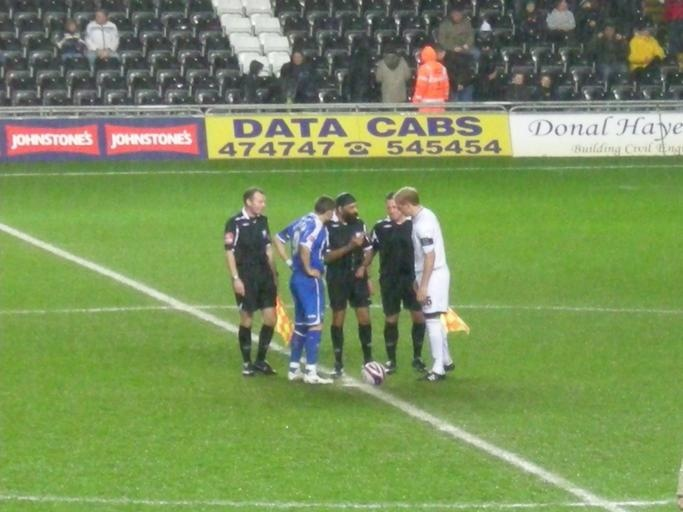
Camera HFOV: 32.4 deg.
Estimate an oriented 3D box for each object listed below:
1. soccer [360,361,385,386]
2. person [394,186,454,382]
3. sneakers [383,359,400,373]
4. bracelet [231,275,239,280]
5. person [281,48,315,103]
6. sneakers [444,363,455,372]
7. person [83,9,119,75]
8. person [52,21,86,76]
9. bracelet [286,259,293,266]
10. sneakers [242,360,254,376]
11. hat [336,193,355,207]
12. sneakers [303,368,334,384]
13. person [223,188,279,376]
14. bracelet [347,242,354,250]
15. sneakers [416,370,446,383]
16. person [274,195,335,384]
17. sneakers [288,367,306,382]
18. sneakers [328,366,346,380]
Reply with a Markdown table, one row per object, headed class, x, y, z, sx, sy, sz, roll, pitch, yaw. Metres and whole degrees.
| class | x | y | z | sx | sy | sz | roll | pitch | yaw |
| --- | --- | --- | --- | --- | --- | --- | --- | --- | --- |
| soccer | 0.454 | 1.729 | 17.804 | 0.258 | 0.320 | 0.342 | -6 | 30 | -19 |
| person | 1.245 | 0.454 | 17.783 | 0.716 | 2.936 | 0.470 | 0 | 8 | 1 |
| sneakers | 0.762 | 1.712 | 18.277 | 0.167 | 0.165 | 0.360 | 0 | -5 | 4 |
| bracelet | -1.579 | 0.309 | 17.643 | 0.077 | 0.055 | 0.072 | -6 | 13 | -29 |
| person | -1.069 | -4.327 | 28.478 | 0.856 | 1.237 | 0.499 | 0 | 8 | 2 |
| sneakers | 1.665 | 1.734 | 18.316 | 0.105 | 0.092 | 0.142 | -3 | -3 | 0 |
| person | -6.298 | -5.600 | 30.878 | 0.883 | 1.582 | 0.775 | -2 | 9 | -8 |
| person | -7.062 | -5.523 | 30.950 | 0.645 | 1.304 | 1.067 | -6 | 10 | -31 |
| bracelet | -0.792 | 0.097 | 17.792 | 0.075 | 0.084 | 0.086 | 4 | 12 | 5 |
| sneakers | -1.448 | 1.719 | 18.072 | 0.179 | 0.216 | 0.178 | -3 | 3 | -33 |
| hat | 0.053 | -0.844 | 17.793 | 0.233 | 0.212 | 0.181 | -24 | 11 | 16 |
| sneakers | -0.320 | 1.812 | 17.931 | 0.553 | 0.272 | 0.187 | -2 | 20 | -11 |
| person | -1.359 | 0.408 | 17.915 | 0.801 | 2.858 | 0.494 | -3 | 9 | -14 |
| bracelet | 0.130 | -0.153 | 17.608 | 0.082 | 0.086 | 0.020 | 28 | -12 | 29 |
| sneakers | 1.372 | 1.843 | 18.055 | 0.395 | 0.171 | 0.175 | 3 | 4 | 0 |
| person | -0.522 | 0.525 | 17.791 | 0.817 | 2.836 | 0.502 | 1 | 8 | 8 |
| sneakers | -0.703 | 1.804 | 17.962 | 0.135 | 0.209 | 0.299 | 8 | 13 | 38 |
| sneakers | -0.087 | 1.801 | 18.177 | 0.246 | 0.169 | 0.132 | 4 | 4 | 0 |
